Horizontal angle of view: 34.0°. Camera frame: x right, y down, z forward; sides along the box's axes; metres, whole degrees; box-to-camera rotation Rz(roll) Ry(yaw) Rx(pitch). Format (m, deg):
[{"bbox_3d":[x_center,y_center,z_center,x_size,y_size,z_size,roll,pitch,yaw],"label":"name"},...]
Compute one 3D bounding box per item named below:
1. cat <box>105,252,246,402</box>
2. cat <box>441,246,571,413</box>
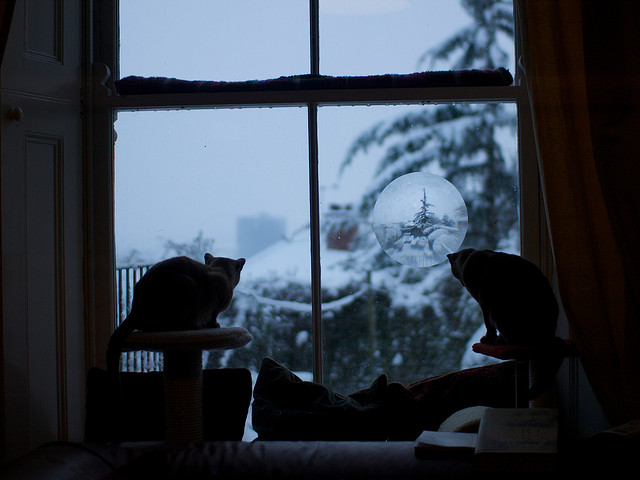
[{"bbox_3d":[-0.689,0.316,4.967,0.345,0.475,1.078,-4,0,33],"label":"cat"},{"bbox_3d":[0.879,0.401,4.844,0.532,0.751,0.291,-3,-5,14],"label":"cat"}]
